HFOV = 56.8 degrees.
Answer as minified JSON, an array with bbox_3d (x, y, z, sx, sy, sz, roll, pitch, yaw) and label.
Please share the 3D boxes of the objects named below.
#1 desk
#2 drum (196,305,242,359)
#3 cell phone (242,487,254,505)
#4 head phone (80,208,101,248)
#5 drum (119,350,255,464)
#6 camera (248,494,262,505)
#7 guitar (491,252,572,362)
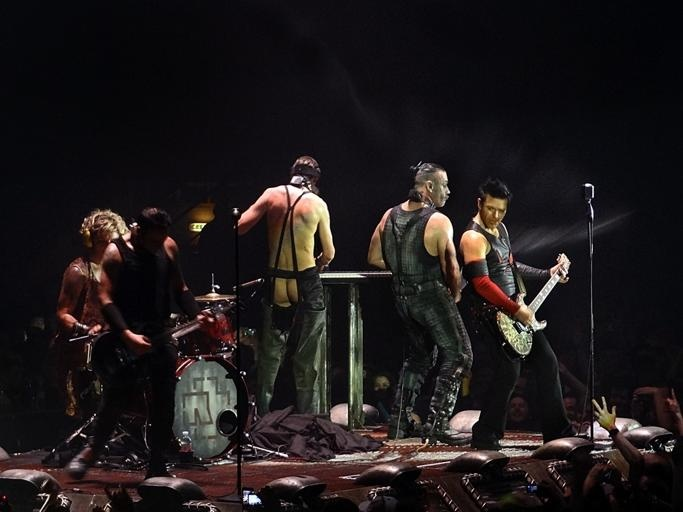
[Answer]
[{"bbox_3d":[-0.103,0.833,6.462,1.136,1.520,0.906,-1,-1,9],"label":"desk"},{"bbox_3d":[-1.083,0.635,5.456,0.247,0.339,0.432,0,2,16],"label":"drum"},{"bbox_3d":[-0.668,1.697,4.463,0.072,0.141,0.073,1,-11,-9],"label":"cell phone"},{"bbox_3d":[-2.314,-0.249,5.773,0.199,0.271,0.109,-25,28,-19],"label":"head phone"},{"bbox_3d":[-1.206,1.349,5.440,0.743,0.829,0.566,4,-24,-33],"label":"drum"},{"bbox_3d":[-0.604,1.690,4.386,0.130,0.073,0.041,-11,-15,44],"label":"camera"},{"bbox_3d":[1.764,0.504,5.860,0.127,0.951,0.382,-11,-56,50],"label":"guitar"}]
